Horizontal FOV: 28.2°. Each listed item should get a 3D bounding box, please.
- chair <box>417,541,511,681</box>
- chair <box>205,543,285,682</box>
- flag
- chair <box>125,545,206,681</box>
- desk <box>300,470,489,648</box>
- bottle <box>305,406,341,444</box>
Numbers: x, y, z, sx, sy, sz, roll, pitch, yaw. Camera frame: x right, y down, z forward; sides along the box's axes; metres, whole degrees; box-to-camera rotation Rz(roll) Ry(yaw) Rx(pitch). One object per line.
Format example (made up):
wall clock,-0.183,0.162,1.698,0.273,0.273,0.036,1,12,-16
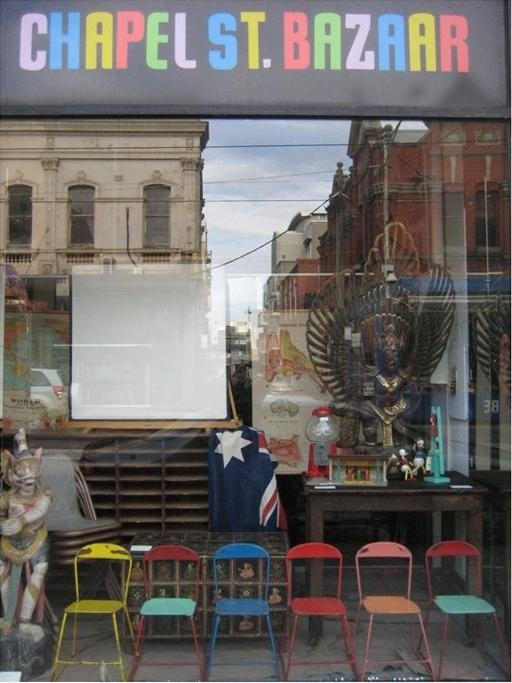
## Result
chair,1.196,1.525,6.009,0.540,0.998,0.645,-1,-11,-1
chair,-0.084,1.555,5.970,0.555,0.945,0.622,0,-14,0
flag,-0.054,0.933,6.684,0.521,0.801,0.082,-6,-22,4
chair,-0.493,1.583,5.983,0.555,0.935,0.616,0,-14,-1
desk,0.824,1.397,6.167,1.031,0.882,0.830,-1,-4,-2
bottle,0.429,0.542,6.640,0.195,0.359,0.206,0,-8,0
